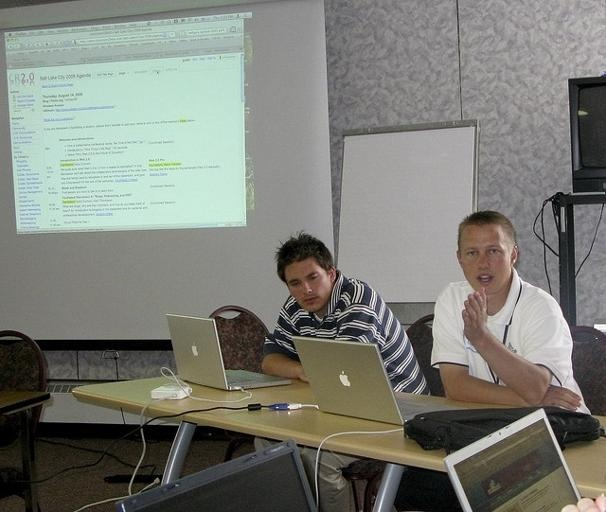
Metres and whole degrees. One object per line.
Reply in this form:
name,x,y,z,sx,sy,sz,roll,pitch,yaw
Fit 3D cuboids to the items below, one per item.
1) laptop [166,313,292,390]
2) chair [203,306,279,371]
laptop,-0.324,0.269,2.019,0.295,0.267,0.398,0,-3,-35
chair,-0.331,0.420,2.838,0.326,0.481,0.328,2,-8,-26
